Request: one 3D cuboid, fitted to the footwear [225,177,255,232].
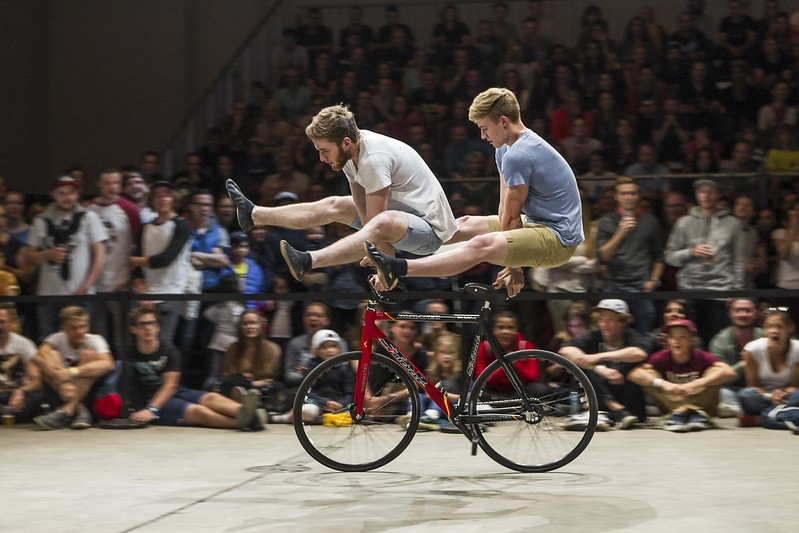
[{"bbox_3d":[-1.332,-0.512,10.009,0.213,0.416,0.379,0,2,-7],"label":"footwear"}]

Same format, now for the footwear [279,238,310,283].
[{"bbox_3d":[-0.790,-0.044,9.181,0.222,0.285,0.370,0,1,-3],"label":"footwear"}]

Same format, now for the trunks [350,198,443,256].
[{"bbox_3d":[-0.002,-0.291,9.467,0.673,0.126,0.389,2,-20,10],"label":"trunks"}]

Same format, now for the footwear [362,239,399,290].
[{"bbox_3d":[-0.140,-0.006,9.033,0.260,0.378,0.321,0,2,-2],"label":"footwear"}]
